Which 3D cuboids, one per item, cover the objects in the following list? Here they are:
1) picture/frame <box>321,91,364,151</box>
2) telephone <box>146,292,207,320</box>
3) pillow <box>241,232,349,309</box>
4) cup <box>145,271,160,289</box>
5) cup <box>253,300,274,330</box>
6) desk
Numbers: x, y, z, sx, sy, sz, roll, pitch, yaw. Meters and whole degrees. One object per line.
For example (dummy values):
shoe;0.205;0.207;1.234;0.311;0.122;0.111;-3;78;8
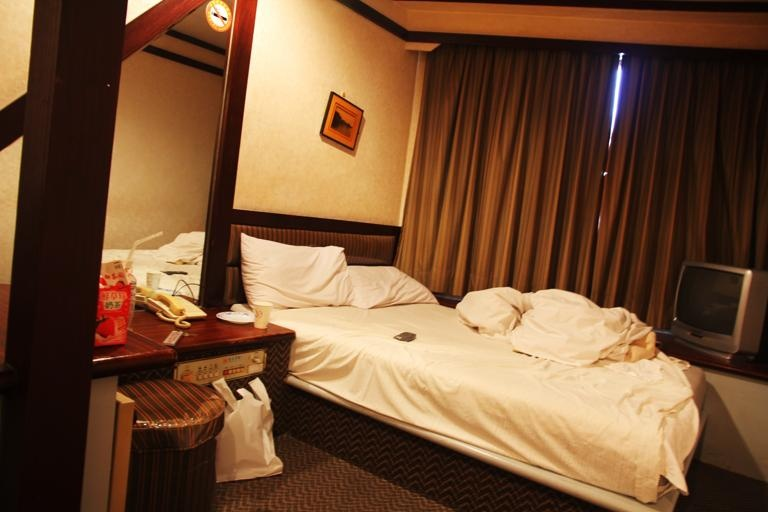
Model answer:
picture/frame;-0.346;-1.085;4.307;0.054;0.375;0.518;18;0;37
telephone;-1.188;0.248;3.094;0.256;0.076;0.180;24;3;-3
pillow;-0.601;0.162;3.871;0.257;0.510;0.940;3;1;43
cup;-1.361;0.142;3.195;0.083;0.087;0.083;4;-3;0
cup;-0.675;0.350;3.187;0.143;0.151;0.142;1;-5;0
desk;-1.002;0.619;2.504;0.732;0.451;0.742;9;11;37
